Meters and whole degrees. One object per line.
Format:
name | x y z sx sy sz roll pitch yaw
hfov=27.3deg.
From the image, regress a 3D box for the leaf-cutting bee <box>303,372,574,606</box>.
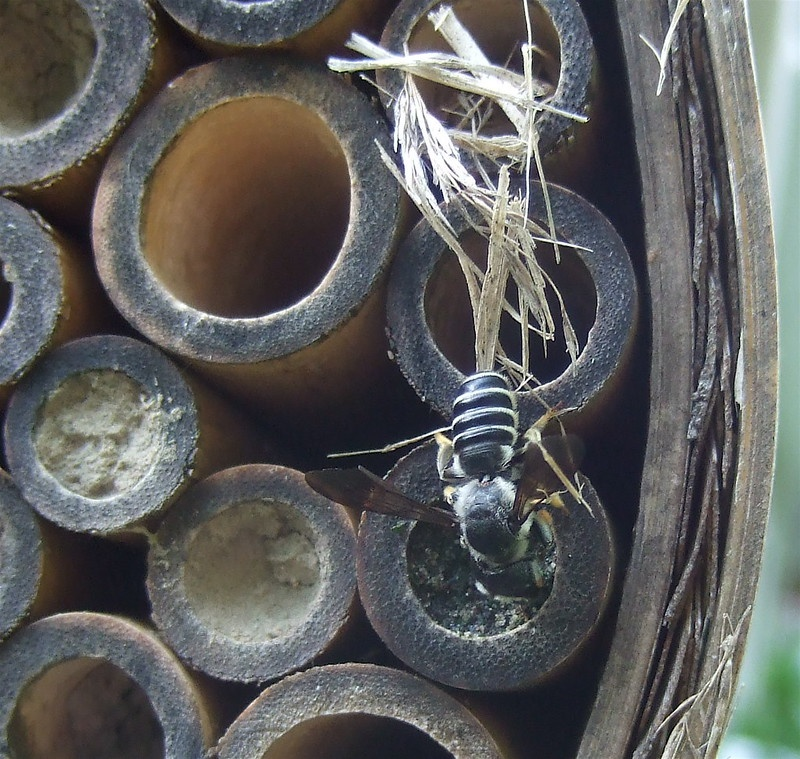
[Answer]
leaf-cutting bee | 0.092 0.130 2.665 0.430 0.160 0.324 27 -76 -12
